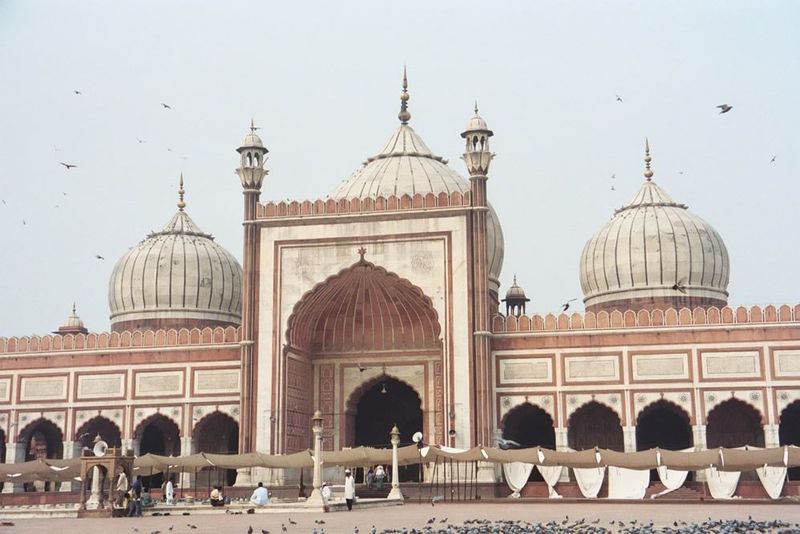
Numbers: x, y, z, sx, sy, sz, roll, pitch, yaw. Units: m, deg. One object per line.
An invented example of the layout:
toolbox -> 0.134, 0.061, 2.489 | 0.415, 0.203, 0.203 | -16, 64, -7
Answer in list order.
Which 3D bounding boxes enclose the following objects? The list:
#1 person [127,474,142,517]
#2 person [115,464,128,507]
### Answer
person -> -7.117, 6.199, 42.182 | 0.368, 1.120, 0.948 | 3, -18, -10
person -> -7.571, 6.002, 42.703 | 0.303, 1.159, 1.122 | 3, -18, -10
